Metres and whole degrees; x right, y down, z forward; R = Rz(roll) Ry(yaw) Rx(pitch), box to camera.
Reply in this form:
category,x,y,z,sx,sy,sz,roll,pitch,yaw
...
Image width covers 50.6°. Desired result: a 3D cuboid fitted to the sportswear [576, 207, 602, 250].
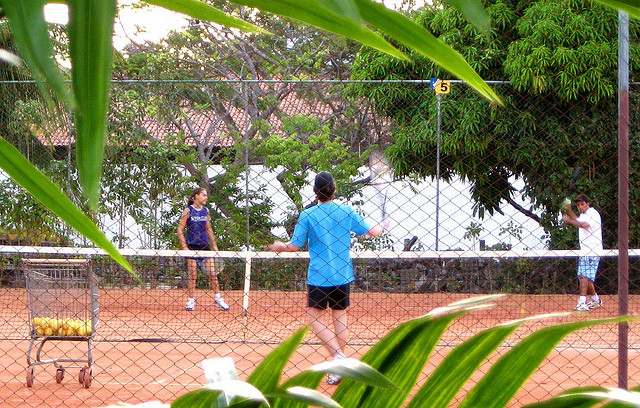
category,x,y,z,sx,sy,sz,roll,pitch,yaw
sportswear,3.807,0.351,9.487,0.278,0.532,0.458,2,30,20

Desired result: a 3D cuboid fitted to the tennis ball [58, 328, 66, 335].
category,x,y,z,sx,sy,sz,roll,pitch,yaw
tennis ball,-2.830,1.391,7.429,0.066,0.067,0.035,-7,-5,-14

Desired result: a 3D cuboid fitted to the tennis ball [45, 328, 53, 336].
category,x,y,z,sx,sy,sz,roll,pitch,yaw
tennis ball,-2.968,1.395,7.419,0.060,0.085,0.063,-2,-5,0

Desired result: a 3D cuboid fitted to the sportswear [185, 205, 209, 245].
category,x,y,z,sx,sy,sz,roll,pitch,yaw
sportswear,-1.863,0.310,10.244,0.357,0.578,0.329,-2,8,-11

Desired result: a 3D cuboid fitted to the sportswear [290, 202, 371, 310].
category,x,y,z,sx,sy,sz,roll,pitch,yaw
sportswear,0.105,0.558,7.200,0.826,1.145,0.224,-1,8,-3

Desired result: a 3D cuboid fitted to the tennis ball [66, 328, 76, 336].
category,x,y,z,sx,sy,sz,roll,pitch,yaw
tennis ball,-2.734,1.400,7.441,0.081,0.062,0.080,2,-2,0

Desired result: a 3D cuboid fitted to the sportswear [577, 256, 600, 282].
category,x,y,z,sx,sy,sz,roll,pitch,yaw
sportswear,3.815,0.889,9.463,0.439,0.450,0.106,0,4,-32

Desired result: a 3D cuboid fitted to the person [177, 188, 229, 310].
category,x,y,z,sx,sy,sz,roll,pitch,yaw
person,-1.750,0.666,10.048,0.685,1.731,1.510,-2,7,-12
